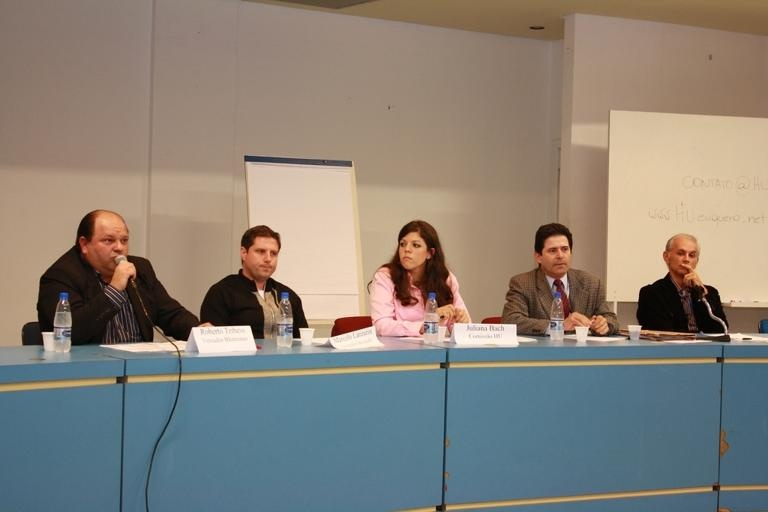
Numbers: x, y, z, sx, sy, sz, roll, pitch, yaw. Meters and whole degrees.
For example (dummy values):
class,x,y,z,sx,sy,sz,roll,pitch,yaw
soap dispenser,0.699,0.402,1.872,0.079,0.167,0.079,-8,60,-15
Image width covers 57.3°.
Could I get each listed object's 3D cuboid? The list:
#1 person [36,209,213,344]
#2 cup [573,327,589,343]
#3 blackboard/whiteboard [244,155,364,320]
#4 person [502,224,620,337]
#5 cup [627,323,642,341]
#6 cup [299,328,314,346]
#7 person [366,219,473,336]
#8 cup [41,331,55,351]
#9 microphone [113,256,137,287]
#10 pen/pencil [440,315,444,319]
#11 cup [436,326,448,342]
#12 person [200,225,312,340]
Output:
class,x,y,z,sx,sy,sz,roll,pitch,yaw
person,-1.493,0.150,3.959,0.605,0.788,0.734,11,15,39
cup,1.113,0.441,3.931,0.077,0.084,0.077,3,-1,0
blackboard/whiteboard,-0.628,-0.109,5.359,1.166,1.704,0.132,-2,-5,-26
person,1.103,0.207,4.664,0.702,1.178,0.698,-1,-10,1
cup,1.456,0.447,4.088,0.081,0.089,0.085,0,0,0
cup,-0.408,0.425,3.690,0.076,0.074,0.078,-1,-10,0
person,0.200,0.224,4.601,0.690,0.814,0.650,-2,-11,11
cup,-1.585,0.418,3.375,0.073,0.081,0.079,1,-6,0
microphone,-1.419,0.034,3.864,0.076,0.299,0.087,5,-48,-31
pen/pencil,0.347,0.365,4.194,0.018,0.020,0.019,-2,2,-35
cup,0.320,0.441,3.935,0.077,0.064,0.074,1,-2,0
person,-0.854,0.183,4.796,0.645,0.915,0.410,6,-18,-38
